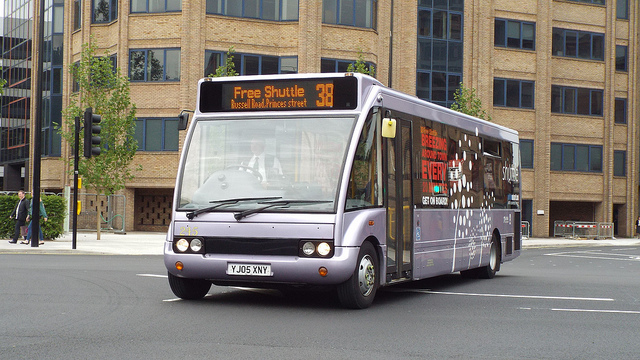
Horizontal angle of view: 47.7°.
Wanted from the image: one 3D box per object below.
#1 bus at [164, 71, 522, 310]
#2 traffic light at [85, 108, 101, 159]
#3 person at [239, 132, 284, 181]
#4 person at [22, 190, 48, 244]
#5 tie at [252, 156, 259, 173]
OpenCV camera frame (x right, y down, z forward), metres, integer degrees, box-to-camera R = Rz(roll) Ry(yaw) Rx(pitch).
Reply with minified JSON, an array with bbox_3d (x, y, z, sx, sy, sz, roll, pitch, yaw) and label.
[{"bbox_3d":[1.949,0.528,24.329,5.788,5.510,16.338,1,-2,26],"label":"bus"},{"bbox_3d":[-8.913,-1.825,28.236,0.540,1.901,0.916,0,4,-18],"label":"traffic light"},{"bbox_3d":[-1.427,-0.567,17.938,1.049,1.123,0.380,3,4,22],"label":"person"},{"bbox_3d":[-12.397,1.678,31.390,1.096,0.794,2.210,14,32,-21],"label":"person"},{"bbox_3d":[-1.593,-0.374,17.956,0.170,0.368,0.107,2,4,12],"label":"tie"}]
